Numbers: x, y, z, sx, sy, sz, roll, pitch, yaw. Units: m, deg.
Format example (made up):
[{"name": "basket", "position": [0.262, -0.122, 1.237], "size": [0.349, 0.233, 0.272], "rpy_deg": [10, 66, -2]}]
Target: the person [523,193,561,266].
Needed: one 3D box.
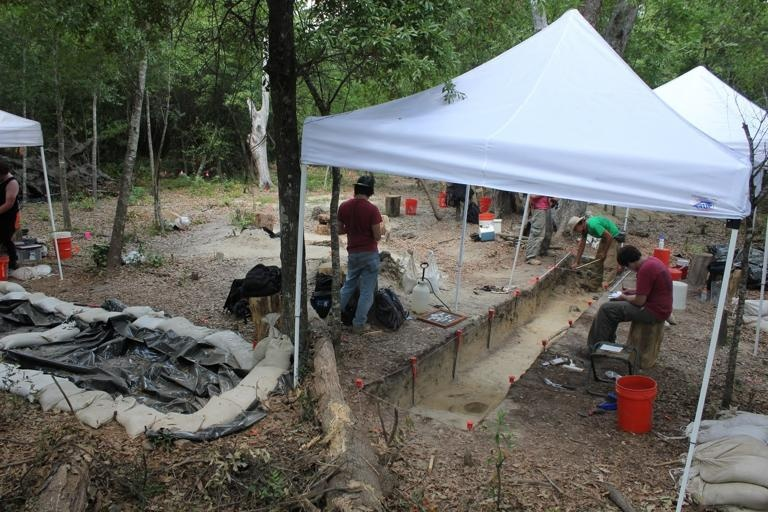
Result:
[{"name": "person", "position": [3.941, -0.700, 14.896], "size": [0.544, 1.657, 1.038], "rpy_deg": [6, 12, 19]}]

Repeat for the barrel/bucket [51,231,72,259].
[{"name": "barrel/bucket", "position": [-6.824, -0.219, 12.503], "size": [0.227, 0.586, 0.531], "rpy_deg": [-3, 12, -25]}]

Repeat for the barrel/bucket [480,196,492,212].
[{"name": "barrel/bucket", "position": [3.437, -1.776, 20.144], "size": [0.510, 0.513, 0.491], "rpy_deg": [-2, 6, 0]}]

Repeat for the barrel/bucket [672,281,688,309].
[{"name": "barrel/bucket", "position": [5.885, 0.776, 11.672], "size": [0.271, 0.563, 0.433], "rpy_deg": [8, 12, 28]}]

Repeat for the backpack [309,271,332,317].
[{"name": "backpack", "position": [-1.029, 0.617, 9.642], "size": [0.466, 0.635, 0.237], "rpy_deg": [-4, -10, 36]}]

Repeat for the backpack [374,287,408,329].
[{"name": "backpack", "position": [0.101, 0.899, 9.947], "size": [0.341, 0.428, 0.577], "rpy_deg": [-9, 12, 17]}]

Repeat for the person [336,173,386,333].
[{"name": "person", "position": [-0.425, -0.032, 9.517], "size": [0.693, 2.505, 0.560], "rpy_deg": [1, 11, -5]}]

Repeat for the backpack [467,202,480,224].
[{"name": "backpack", "position": [2.928, -1.411, 19.171], "size": [0.353, 0.625, 0.842], "rpy_deg": [4, 10, 10]}]

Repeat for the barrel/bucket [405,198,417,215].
[{"name": "barrel/bucket", "position": [0.977, -1.741, 20.549], "size": [0.549, 0.567, 0.534], "rpy_deg": [0, 12, 0]}]

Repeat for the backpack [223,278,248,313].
[{"name": "backpack", "position": [-2.554, 0.698, 10.035], "size": [0.479, 0.626, 0.227], "rpy_deg": [1, -28, 21]}]

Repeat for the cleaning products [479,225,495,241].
[{"name": "cleaning products", "position": [2.960, -0.718, 17.068], "size": [0.433, 0.410, 0.414], "rpy_deg": [-4, 17, -14]}]

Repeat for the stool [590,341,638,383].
[{"name": "stool", "position": [3.506, 1.587, 9.024], "size": [0.681, 0.665, 0.674], "rpy_deg": [4, 35, 27]}]

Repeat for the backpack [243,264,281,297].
[{"name": "backpack", "position": [-1.904, 0.392, 9.120], "size": [0.562, 0.435, 0.391], "rpy_deg": [1, 11, -8]}]

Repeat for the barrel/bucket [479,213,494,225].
[{"name": "barrel/bucket", "position": [3.033, -1.122, 17.302], "size": [0.440, 0.396, 0.431], "rpy_deg": [2, 8, 0]}]

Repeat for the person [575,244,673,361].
[{"name": "person", "position": [3.921, 0.772, 9.277], "size": [1.128, 1.560, 0.315], "rpy_deg": [6, 12, 19]}]

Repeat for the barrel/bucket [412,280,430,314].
[{"name": "barrel/bucket", "position": [0.645, 0.728, 10.592], "size": [0.317, 0.544, 0.296], "rpy_deg": [2, 11, 0]}]

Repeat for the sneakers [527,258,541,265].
[{"name": "sneakers", "position": [3.759, 0.136, 14.679], "size": [0.296, 0.121, 0.146], "rpy_deg": [2, 7, 40]}]

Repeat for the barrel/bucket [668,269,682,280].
[{"name": "barrel/bucket", "position": [5.852, 0.359, 11.793], "size": [0.216, 0.129, 0.213], "rpy_deg": [-2, 12, 0]}]

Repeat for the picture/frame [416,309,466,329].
[{"name": "picture/frame", "position": [1.016, 1.086, 10.402], "size": [0.684, 0.136, 0.723], "rpy_deg": [8, 12, 33]}]
